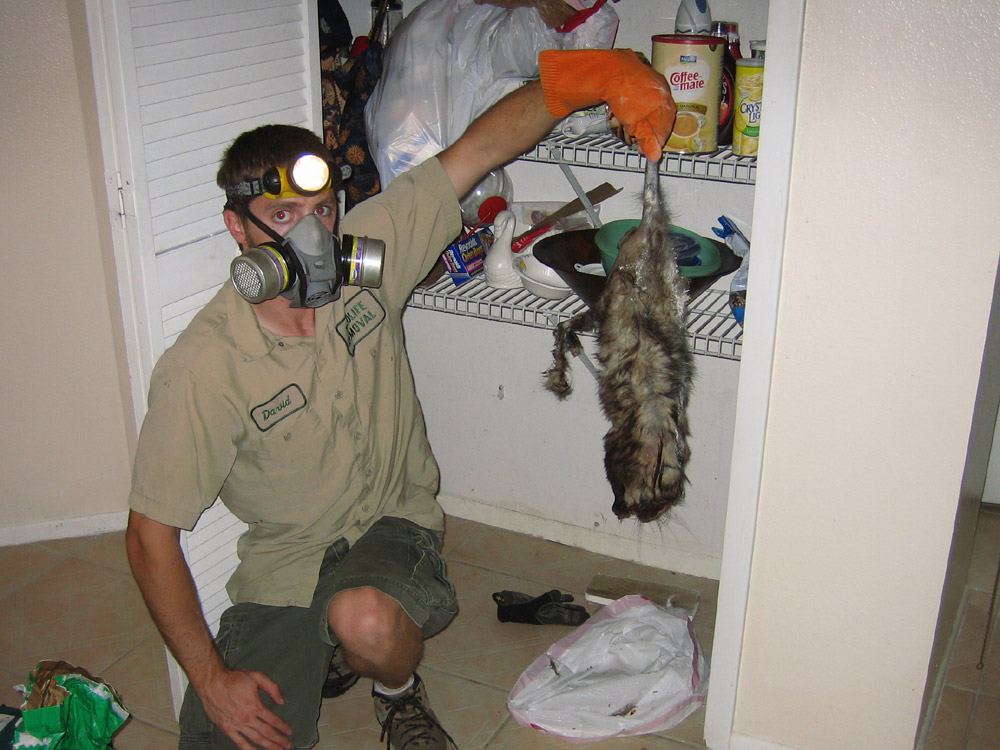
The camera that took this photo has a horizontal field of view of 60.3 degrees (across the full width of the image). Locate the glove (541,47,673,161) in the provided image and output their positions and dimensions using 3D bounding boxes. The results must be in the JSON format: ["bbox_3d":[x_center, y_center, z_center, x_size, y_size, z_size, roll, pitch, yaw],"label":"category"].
[{"bbox_3d":[0.243,-0.603,1.907,0.312,0.218,0.145,14,25,34],"label":"glove"}]
